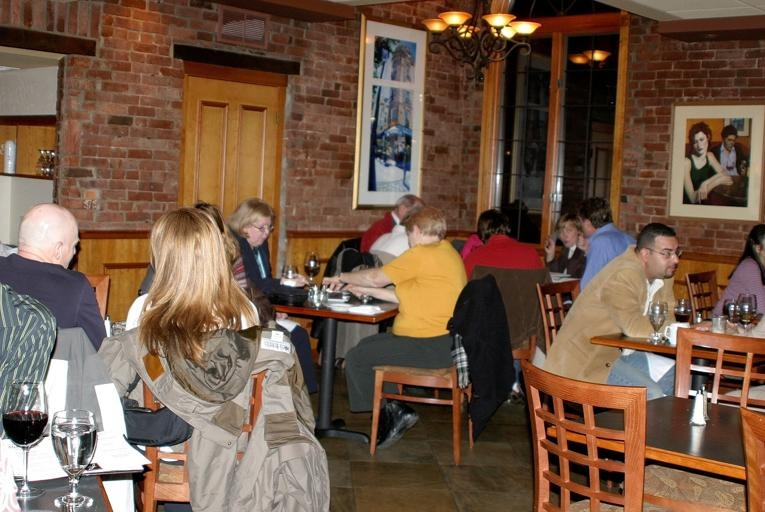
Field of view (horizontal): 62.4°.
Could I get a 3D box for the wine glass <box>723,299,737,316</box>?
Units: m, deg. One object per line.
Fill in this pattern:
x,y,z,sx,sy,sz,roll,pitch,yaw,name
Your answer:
2.341,0.354,4.266,0.098,0.100,0.097,-2,3,-33,wine glass

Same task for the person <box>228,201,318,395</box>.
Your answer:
-0.896,0.348,5.300,0.817,1.475,0.608,2,12,1,person

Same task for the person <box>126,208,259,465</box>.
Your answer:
-0.899,0.432,3.235,0.792,1.423,0.727,-2,34,-10,person

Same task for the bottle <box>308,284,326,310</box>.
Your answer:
-0.500,0.308,4.801,0.126,0.115,0.181,2,6,8,bottle

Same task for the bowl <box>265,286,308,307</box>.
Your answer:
-0.730,0.313,4.832,0.300,0.101,0.371,1,9,-11,bowl

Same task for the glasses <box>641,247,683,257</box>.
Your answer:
1.879,-0.026,4.197,0.260,0.065,0.103,0,9,-16,glasses

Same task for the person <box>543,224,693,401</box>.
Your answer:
1.754,0.394,4.944,1.212,1.885,0.863,2,0,22,person

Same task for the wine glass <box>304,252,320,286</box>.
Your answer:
-0.573,0.117,5.069,0.095,0.267,0.386,1,9,-8,wine glass

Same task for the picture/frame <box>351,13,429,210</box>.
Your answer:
0.097,-1.696,7.709,0.235,2.214,1.153,11,13,43,picture/frame

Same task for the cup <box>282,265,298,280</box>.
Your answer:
-0.766,0.135,5.218,0.112,0.110,0.112,1,5,0,cup
